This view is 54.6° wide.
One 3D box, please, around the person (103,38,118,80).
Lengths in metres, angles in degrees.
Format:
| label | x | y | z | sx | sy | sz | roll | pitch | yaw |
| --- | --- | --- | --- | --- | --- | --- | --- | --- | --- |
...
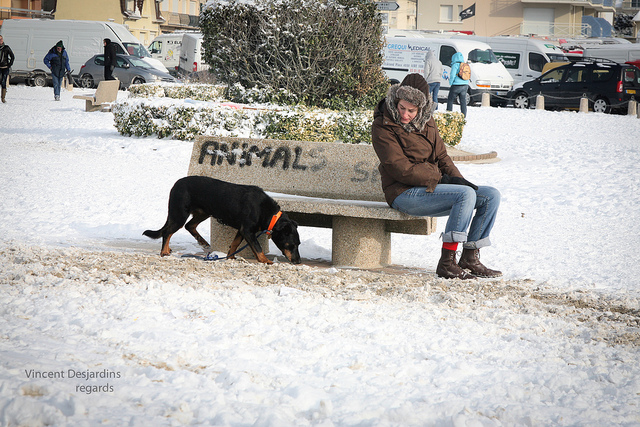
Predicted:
| label | x | y | z | sx | sy | sz | roll | pitch | yaw |
| --- | --- | --- | --- | --- | --- | --- | --- | --- | --- |
| person | -8.547 | -6.273 | 25.223 | 0.413 | 1.615 | 2.961 | 0 | 11 | -19 |

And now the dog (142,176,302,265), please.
| label | x | y | z | sx | sy | sz | roll | pitch | yaw |
| --- | --- | --- | --- | --- | --- | --- | --- | --- | --- |
| dog | -1.174 | 0.102 | 7.583 | 1.992 | 1.028 | 0.487 | 7 | 11 | 10 |

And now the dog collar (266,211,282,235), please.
| label | x | y | z | sx | sy | sz | roll | pitch | yaw |
| --- | --- | --- | --- | --- | --- | --- | --- | --- | --- |
| dog collar | -0.507 | 0.111 | 7.307 | 0.064 | 0.216 | 0.172 | 26 | -4 | 2 |

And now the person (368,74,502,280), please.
| label | x | y | z | sx | sy | sz | roll | pitch | yaw |
| --- | --- | --- | --- | --- | --- | --- | --- | --- | --- |
| person | 1.311 | -0.450 | 7.175 | 1.520 | 2.257 | 0.618 | 6 | 11 | 16 |

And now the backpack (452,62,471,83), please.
| label | x | y | z | sx | sy | sz | roll | pitch | yaw |
| --- | --- | --- | --- | --- | --- | --- | --- | --- | --- |
| backpack | 4.595 | -4.566 | 19.911 | 0.391 | 0.561 | 0.524 | -2 | 9 | -24 |

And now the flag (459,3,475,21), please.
| label | x | y | z | sx | sy | sz | roll | pitch | yaw |
| --- | --- | --- | --- | --- | --- | --- | --- | --- | --- |
| flag | 15.531 | -21.278 | 65.060 | 1.391 | 1.687 | 3.769 | 6 | 11 | 12 |

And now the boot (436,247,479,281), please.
| label | x | y | z | sx | sy | sz | roll | pitch | yaw |
| --- | --- | --- | --- | --- | --- | --- | --- | --- | --- |
| boot | 1.582 | 0.585 | 7.067 | 0.184 | 0.358 | 0.507 | -5 | 4 | -41 |

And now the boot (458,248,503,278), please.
| label | x | y | z | sx | sy | sz | roll | pitch | yaw |
| --- | --- | --- | --- | --- | --- | --- | --- | --- | --- |
| boot | 1.913 | 0.594 | 7.216 | 0.600 | 0.419 | 0.231 | 2 | 4 | -5 |

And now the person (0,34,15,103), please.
| label | x | y | z | sx | sy | sz | roll | pitch | yaw |
| --- | --- | --- | --- | --- | --- | --- | --- | --- | --- |
| person | -11.103 | -4.952 | 21.926 | 0.402 | 2.006 | 1.534 | -2 | 12 | -27 |

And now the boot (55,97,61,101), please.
| label | x | y | z | sx | sy | sz | roll | pitch | yaw |
| --- | --- | --- | --- | --- | --- | --- | --- | --- | --- |
| boot | -9.999 | -4.345 | 23.540 | 0.122 | 0.110 | 0.099 | -8 | 3 | 21 |

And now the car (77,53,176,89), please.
| label | x | y | z | sx | sy | sz | roll | pitch | yaw |
| --- | --- | --- | --- | --- | --- | --- | --- | --- | --- |
| car | -8.772 | -6.356 | 27.902 | 4.990 | 1.597 | 1.337 | 11 | 13 | 33 |

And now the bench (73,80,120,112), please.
| label | x | y | z | sx | sy | sz | roll | pitch | yaw |
| --- | --- | --- | --- | --- | --- | --- | --- | --- | --- |
| bench | -7.692 | -3.871 | 20.870 | 1.023 | 0.895 | 0.765 | 1 | 5 | -4 |
